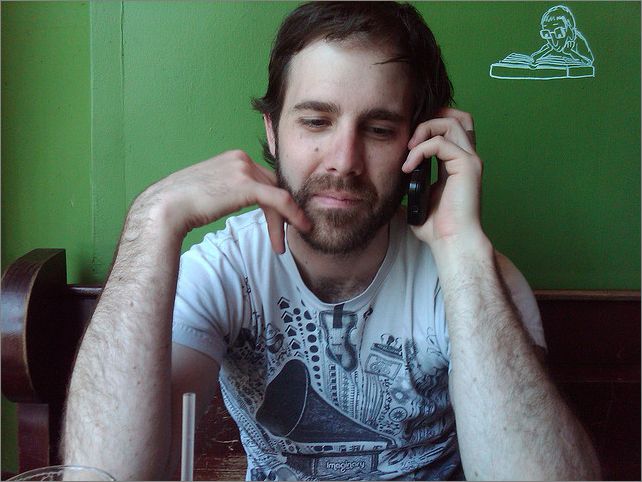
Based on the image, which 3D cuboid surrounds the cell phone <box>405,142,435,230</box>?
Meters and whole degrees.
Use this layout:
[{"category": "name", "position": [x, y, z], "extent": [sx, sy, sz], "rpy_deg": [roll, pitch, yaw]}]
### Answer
[{"category": "cell phone", "position": [0.360, -0.207, 2.460], "extent": [0.052, 0.331, 0.124], "rpy_deg": [2, -27, 8]}]
